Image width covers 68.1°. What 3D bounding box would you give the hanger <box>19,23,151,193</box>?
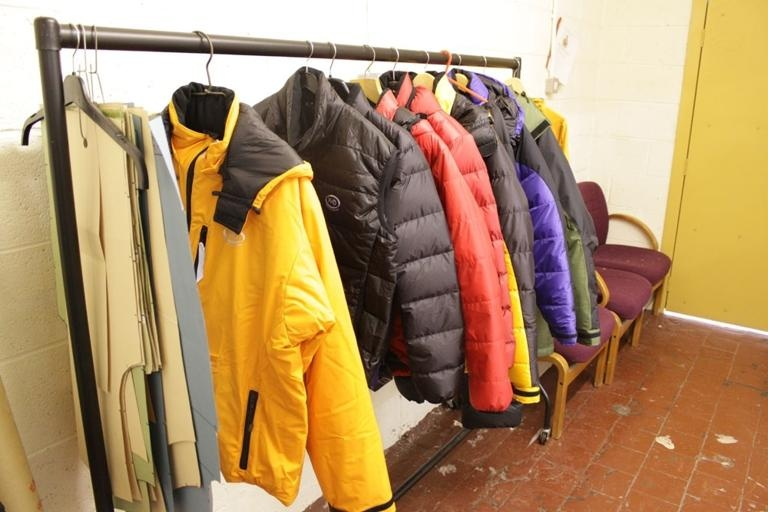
[{"bbox_3d":[-0.891,-0.426,1.657,0.530,0.608,0.062,10,14,36],"label":"hanger"}]
